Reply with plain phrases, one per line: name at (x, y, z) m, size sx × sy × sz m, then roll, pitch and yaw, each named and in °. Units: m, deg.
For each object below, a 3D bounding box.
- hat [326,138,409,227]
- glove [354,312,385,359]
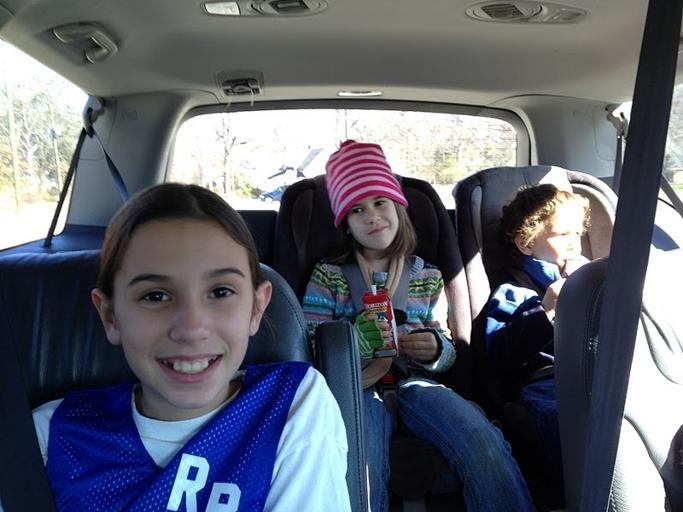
hat at (0.068, -0.342, 2.234) m, size 0.268 × 0.357 × 0.379 m, roll -15°, pitch -5°, yaw -6°
glove at (0.095, 0.272, 1.793) m, size 0.104 × 0.161 × 0.060 m, roll -15°, pitch -8°, yaw 22°
